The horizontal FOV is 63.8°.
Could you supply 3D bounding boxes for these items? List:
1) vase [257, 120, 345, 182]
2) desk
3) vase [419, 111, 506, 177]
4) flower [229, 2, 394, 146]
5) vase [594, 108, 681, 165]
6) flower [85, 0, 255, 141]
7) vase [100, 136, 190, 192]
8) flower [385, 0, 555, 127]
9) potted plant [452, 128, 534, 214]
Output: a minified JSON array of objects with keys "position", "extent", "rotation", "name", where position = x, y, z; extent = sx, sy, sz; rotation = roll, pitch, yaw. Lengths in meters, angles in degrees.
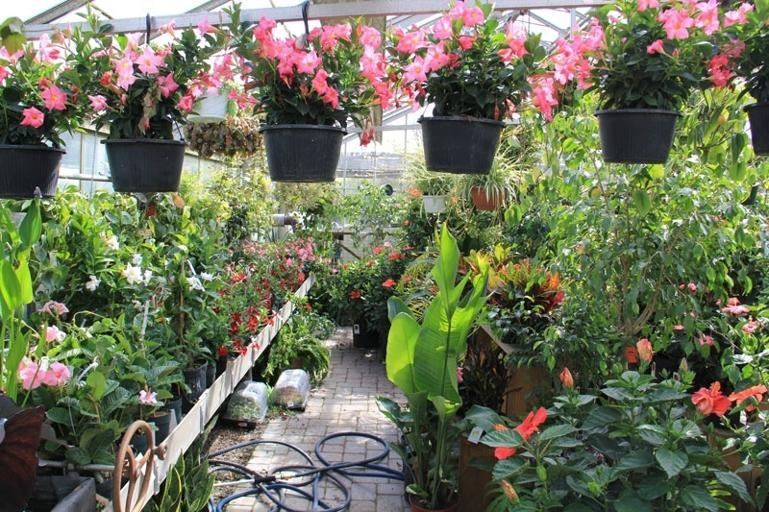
[{"position":[-0.376,-0.468,2.703],"extent":[0.437,0.264,0.390],"rotation":[-3,11,-19],"name":"vase"},{"position":[0.770,0.719,3.551],"extent":[0.434,0.702,0.723],"rotation":[4,-7,-9],"name":"desk"},{"position":[0.311,-0.475,2.659],"extent":[0.360,0.199,0.371],"rotation":[4,4,32],"name":"vase"},{"position":[-0.302,-0.792,2.559],"extent":[0.529,0.397,0.463],"rotation":[0,23,-6],"name":"flower"},{"position":[1.128,-0.482,2.575],"extent":[0.366,0.199,0.368],"rotation":[5,7,-7],"name":"vase"},{"position":[-1.049,-0.736,2.719],"extent":[0.607,0.426,0.530],"rotation":[-3,14,-19],"name":"flower"},{"position":[-1.079,-0.415,2.792],"extent":[0.363,0.254,0.350],"rotation":[-1,12,-18],"name":"vase"},{"position":[0.328,-0.753,2.438],"extent":[0.541,0.392,0.505],"rotation":[-1,8,-22],"name":"flower"},{"position":[0.859,-0.603,4.926],"extent":[0.446,0.485,0.463],"rotation":[-3,-4,32],"name":"potted plant"}]
